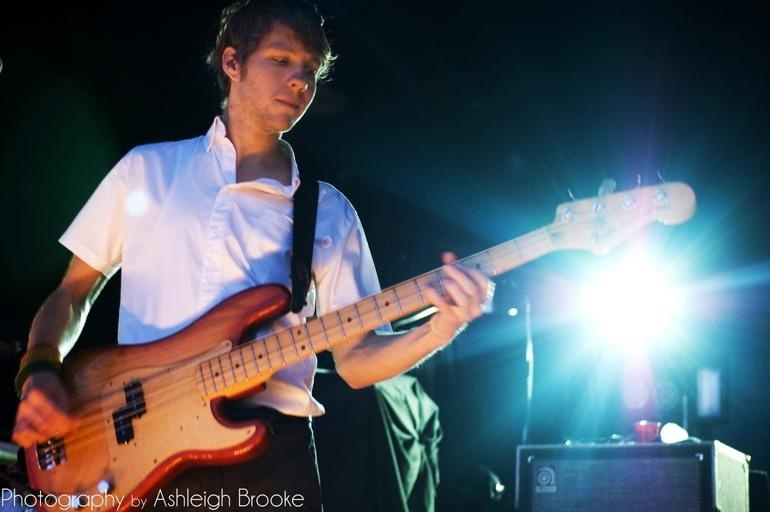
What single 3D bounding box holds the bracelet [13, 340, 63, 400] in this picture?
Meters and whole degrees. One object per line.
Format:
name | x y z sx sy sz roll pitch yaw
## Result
bracelet | -1.907 0.623 4.014 0.210 0.310 0.108 12 -8 -16
